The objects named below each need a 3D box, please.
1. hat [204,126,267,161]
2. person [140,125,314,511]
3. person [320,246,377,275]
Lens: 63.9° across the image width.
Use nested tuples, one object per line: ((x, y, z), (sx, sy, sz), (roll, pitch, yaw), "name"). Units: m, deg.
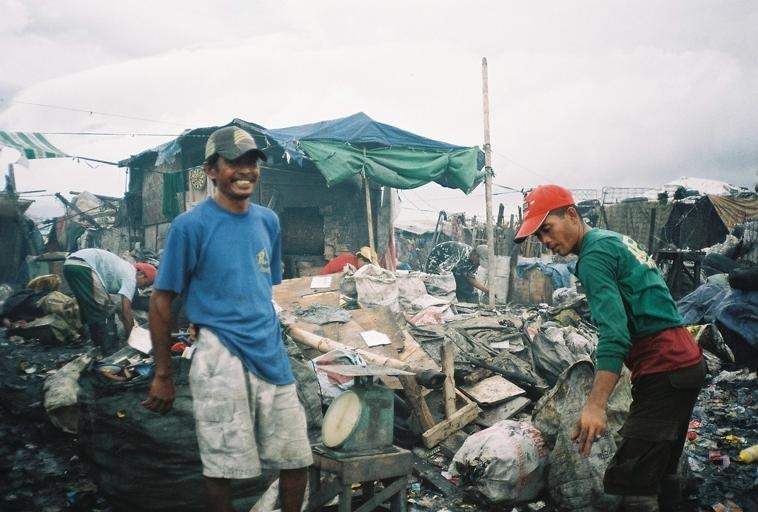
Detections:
((-1.288, -0.921, 5.211), (0.421, 0.220, 0.312), (-4, 2, 37), "hat")
((-1.253, 0.528, 5.098), (1.244, 3.264, 0.460), (-1, -2, -22), "person")
((-0.513, 0.083, 11.959), (0.685, 0.487, 1.202), (-3, -2, 44), "person")
